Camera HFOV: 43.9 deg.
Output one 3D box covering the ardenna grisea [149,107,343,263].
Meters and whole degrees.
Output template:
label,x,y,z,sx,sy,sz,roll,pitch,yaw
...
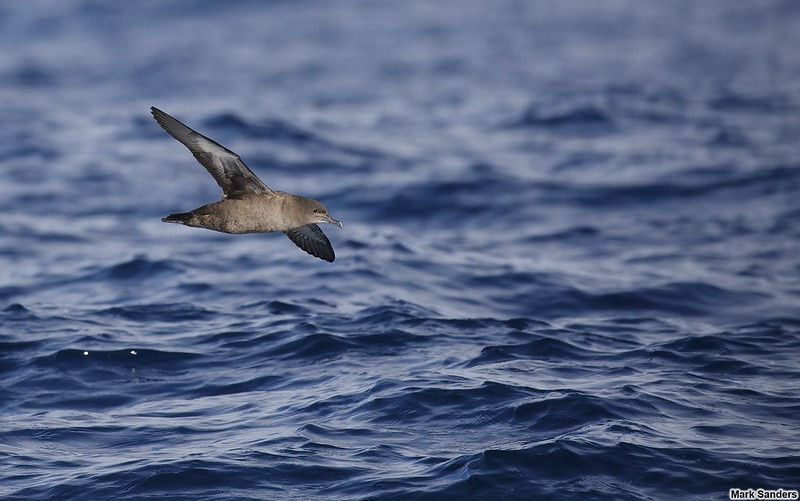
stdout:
label,x,y,z,sx,sy,sz,roll,pitch,yaw
ardenna grisea,-3.144,-1.336,18.865,1.840,1.991,2.610,-14,-19,25
